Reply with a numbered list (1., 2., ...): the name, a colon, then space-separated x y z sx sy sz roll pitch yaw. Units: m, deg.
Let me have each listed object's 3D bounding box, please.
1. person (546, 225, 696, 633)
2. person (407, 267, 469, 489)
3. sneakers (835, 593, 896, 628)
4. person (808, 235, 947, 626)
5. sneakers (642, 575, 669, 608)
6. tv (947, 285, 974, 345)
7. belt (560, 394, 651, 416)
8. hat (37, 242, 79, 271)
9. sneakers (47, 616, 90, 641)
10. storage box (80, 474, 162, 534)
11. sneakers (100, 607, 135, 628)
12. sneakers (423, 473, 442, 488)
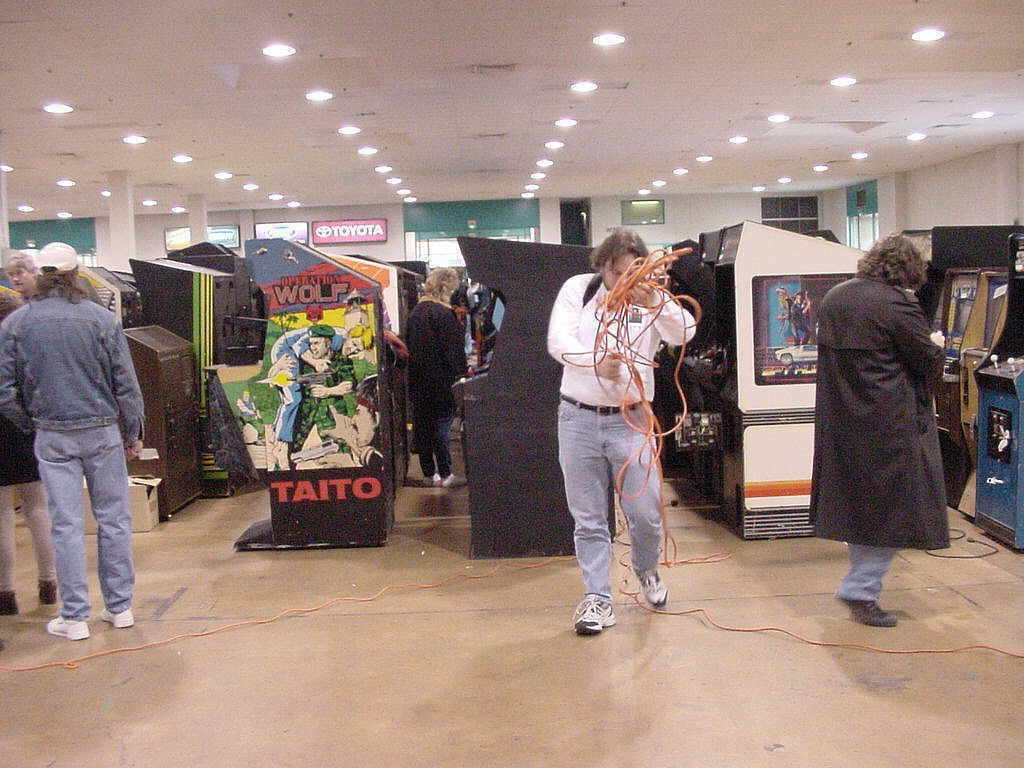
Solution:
1. person: 0.500 0.232 3.883 0.641 1.888 0.492 -2 10 2
2. person: -0.619 -0.013 6.639 0.470 1.797 0.639 -3 10 -7
3. sneakers: 1.730 1.113 4.013 0.088 0.102 0.238 8 -5 -40
4. person: 1.784 0.029 3.946 0.610 1.441 0.409 2 11 24
5. sneakers: 0.721 1.039 4.139 0.081 0.095 0.222 -3 -26 -1
6. tv: 3.110 -0.473 5.681 0.100 0.397 0.343 1 10 17
7. belt: 0.416 0.092 3.860 0.376 0.087 0.129 -1 10 7
8. hat: -2.275 -0.645 4.123 0.142 0.100 0.194 2 21 -10
9. sneakers: -2.232 1.200 4.119 0.248 0.109 0.091 5 3 25
10. storage box: -2.742 0.841 5.835 0.576 0.377 0.614 0 -4 -3
11. sneakers: -2.000 1.185 4.171 0.071 0.085 0.193 0 4 -36
12. sneakers: -0.687 0.816 6.974 0.186 0.129 0.087 2 4 14
